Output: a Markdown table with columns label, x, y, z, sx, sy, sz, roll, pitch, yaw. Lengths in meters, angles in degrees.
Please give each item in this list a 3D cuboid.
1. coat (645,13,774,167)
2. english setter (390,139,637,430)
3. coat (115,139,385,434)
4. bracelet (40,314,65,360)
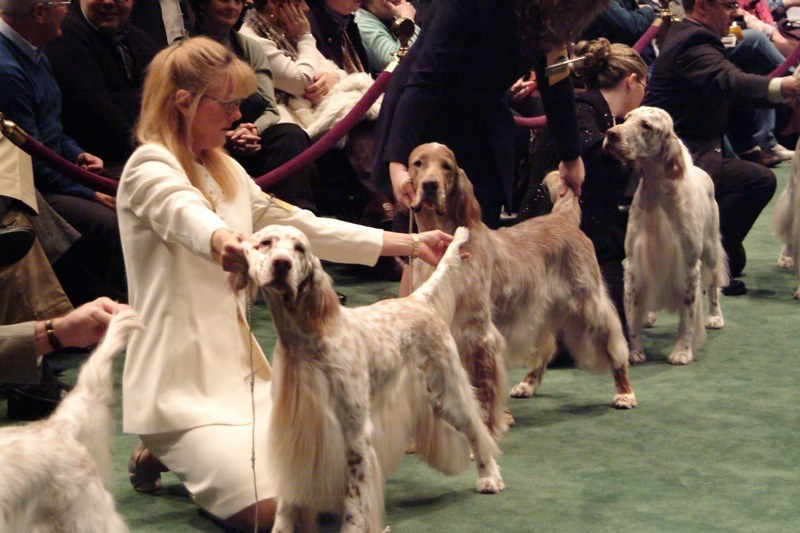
| label | x | y | z | sx | sy | sz | roll | pitch | yaw |
| --- | --- | --- | --- | --- | --- | --- | --- | --- | --- |
| coat | 3.049 | -1.689 | 7.986 | 1.143 | 1.944 | 1.392 | -6 | 27 | 11 |
| english setter | 0.732 | 0.112 | 5.522 | 2.262 | 1.808 | 0.733 | -3 | 12 | -38 |
| coat | -0.835 | 0.177 | 4.448 | 0.920 | 1.766 | 1.180 | -1 | 19 | -5 |
| bracelet | -1.656 | 0.348 | 3.871 | 0.042 | 0.139 | 0.141 | -15 | 50 | -12 |
